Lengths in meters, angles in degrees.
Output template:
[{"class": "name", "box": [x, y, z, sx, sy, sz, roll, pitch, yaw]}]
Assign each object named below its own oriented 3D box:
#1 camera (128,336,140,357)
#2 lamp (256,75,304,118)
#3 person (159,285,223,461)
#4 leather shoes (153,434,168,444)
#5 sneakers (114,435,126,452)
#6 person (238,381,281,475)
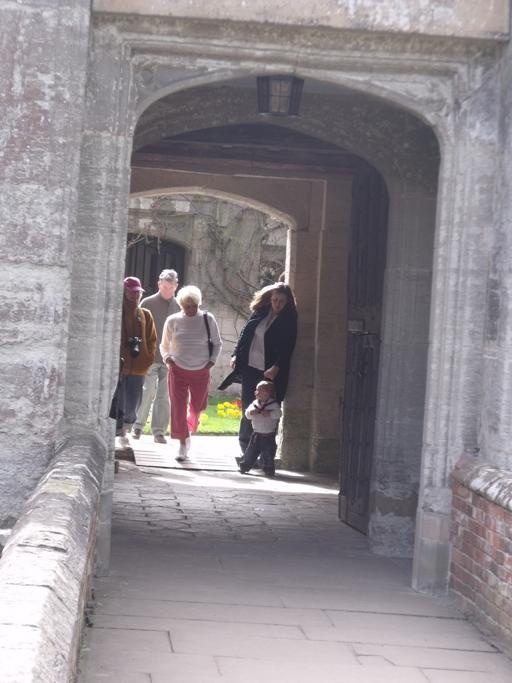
[{"class": "camera", "box": [-1.118, 0.051, 6.413, 0.148, 0.264, 0.169, 0, 3, -10]}, {"class": "lamp", "box": [0.114, -1.235, 3.515, 0.229, 0.201, 0.106, 4, 6, 3]}, {"class": "person", "box": [-0.625, 0.203, 6.733, 0.500, 1.443, 0.505, 0, 7, -28]}, {"class": "leather shoes", "box": [-1.091, 1.105, 7.902, 0.099, 0.116, 0.280, 2, -7, -7]}, {"class": "sneakers", "box": [-1.388, 1.056, 7.196, 0.148, 0.180, 0.429, 2, -7, -13]}, {"class": "person", "box": [0.039, 0.837, 6.775, 0.366, 0.971, 0.480, 3, 6, 0]}]
